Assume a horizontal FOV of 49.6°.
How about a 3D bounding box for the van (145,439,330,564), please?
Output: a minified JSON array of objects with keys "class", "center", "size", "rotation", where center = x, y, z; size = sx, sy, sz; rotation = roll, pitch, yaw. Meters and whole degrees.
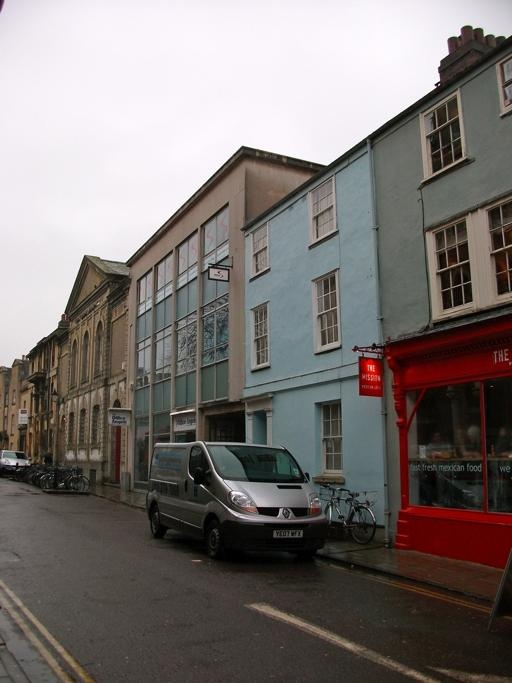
[{"class":"van","center":[-0.467,2.843,10.222],"size":[1.728,1.684,3.686],"rotation":[8,-24,-22]}]
